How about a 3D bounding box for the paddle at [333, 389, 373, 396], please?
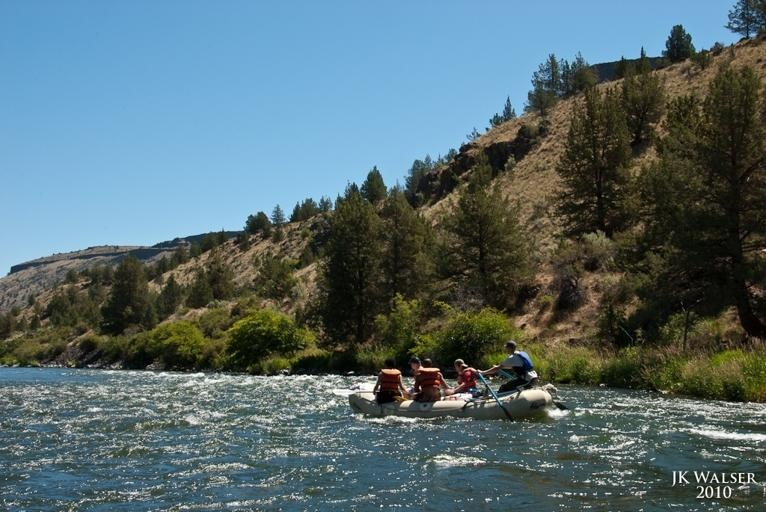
[{"bbox_3d":[-1.703,7.533,46.753,2.192,0.175,0.630,4,14,26],"label":"paddle"}]
